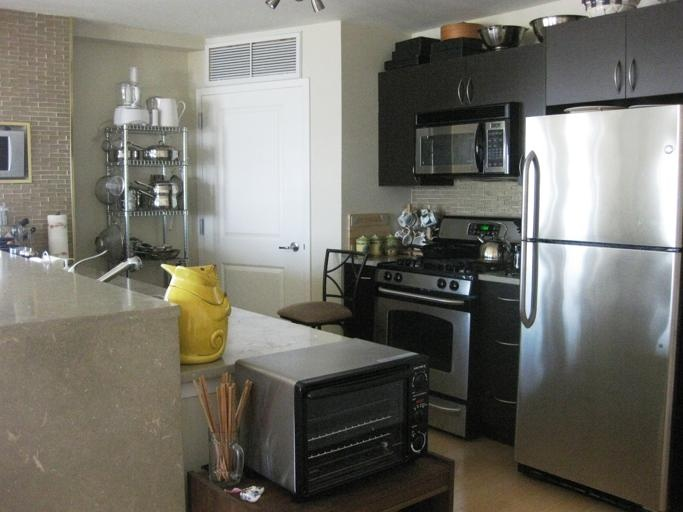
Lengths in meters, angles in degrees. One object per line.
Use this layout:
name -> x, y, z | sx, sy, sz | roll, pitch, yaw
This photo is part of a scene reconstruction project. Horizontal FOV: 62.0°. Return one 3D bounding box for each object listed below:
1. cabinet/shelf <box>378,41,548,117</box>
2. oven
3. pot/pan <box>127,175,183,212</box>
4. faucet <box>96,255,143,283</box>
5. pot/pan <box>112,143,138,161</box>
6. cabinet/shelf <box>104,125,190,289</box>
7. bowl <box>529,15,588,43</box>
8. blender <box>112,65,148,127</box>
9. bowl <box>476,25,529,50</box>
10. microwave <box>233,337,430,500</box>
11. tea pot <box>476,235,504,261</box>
cabinet/shelf -> 0.915, -1.245, 4.280 | 1.165, 0.447, 0.387 | -3, 10, 4
oven -> 0.775, 0.608, 4.191 | 0.949, 1.175, 0.853 | 4, 5, 30
pot/pan -> -1.604, -0.557, 4.975 | 0.455, 0.298, 0.399 | -3, 8, -12
faucet -> -0.999, 0.060, 2.555 | 0.142, 0.137, 0.548 | 10, -9, -27
pot/pan -> -1.814, -0.868, 4.778 | 0.163, 0.120, 0.168 | 4, 7, 26
cabinet/shelf -> -1.624, -0.258, 5.033 | 0.565, 1.767, 0.465 | -3, 12, -23
bowl -> 1.371, -1.510, 3.673 | 0.255, 0.098, 0.265 | -1, 8, 0
blender -> -1.730, -1.316, 4.720 | 0.250, 0.477, 0.258 | 5, 8, 9
bowl -> 1.139, -1.534, 4.006 | 0.315, 0.161, 0.176 | 1, 8, 16
microwave -> -0.022, 0.544, 2.009 | 0.575, 0.390, 0.460 | -3, 7, -36
tea pot -> 1.073, -0.043, 4.065 | 0.132, 0.151, 0.167 | -2, 4, -27
